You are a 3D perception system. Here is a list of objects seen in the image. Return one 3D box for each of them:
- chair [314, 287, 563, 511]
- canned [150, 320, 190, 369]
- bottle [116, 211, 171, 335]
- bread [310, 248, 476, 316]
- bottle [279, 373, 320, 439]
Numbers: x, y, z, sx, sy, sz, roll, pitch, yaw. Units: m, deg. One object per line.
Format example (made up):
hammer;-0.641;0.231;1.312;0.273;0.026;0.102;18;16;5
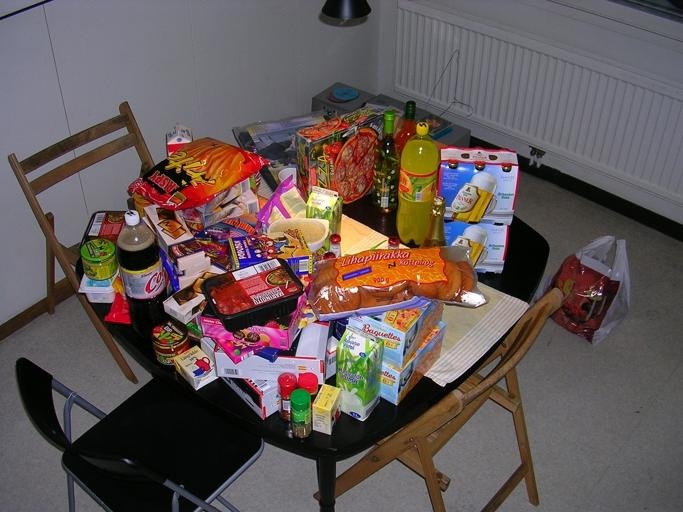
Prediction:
chair;0.311;0.516;1.718;0.405;0.713;0.429;41;70;21
canned;-0.513;0.259;1.582;0.108;0.106;0.119;-19;44;-24
bottle;-0.640;0.070;1.663;0.124;0.442;0.133;0;40;0
bread;0.144;0.059;1.496;0.384;0.109;0.227;-5;43;2
bottle;-0.113;0.414;1.406;0.074;0.143;0.142;-17;41;-26
